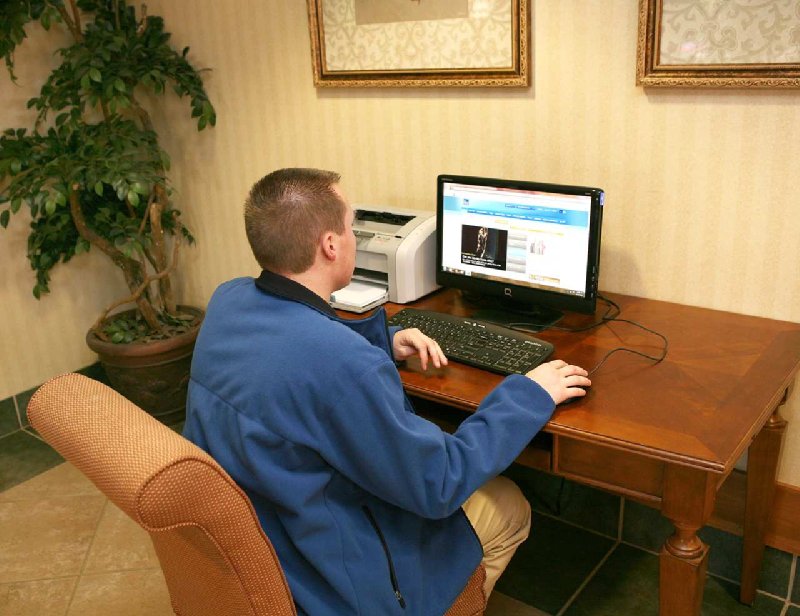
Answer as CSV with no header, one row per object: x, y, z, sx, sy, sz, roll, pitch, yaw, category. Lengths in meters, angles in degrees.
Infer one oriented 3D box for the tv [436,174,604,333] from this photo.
0.411,-0.180,2.095,0.461,0.363,0.142,14,28,37,tv

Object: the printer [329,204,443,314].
-0.043,-0.194,2.366,0.390,0.267,0.391,15,24,35,printer
